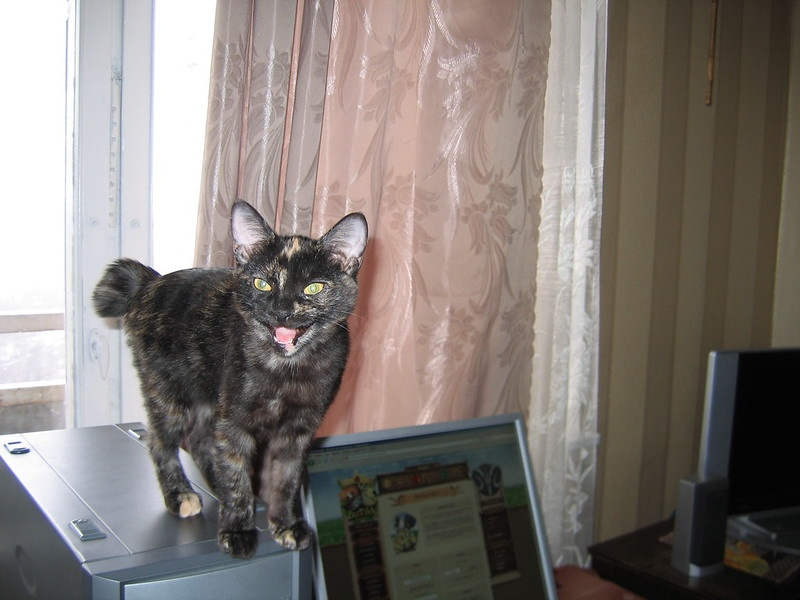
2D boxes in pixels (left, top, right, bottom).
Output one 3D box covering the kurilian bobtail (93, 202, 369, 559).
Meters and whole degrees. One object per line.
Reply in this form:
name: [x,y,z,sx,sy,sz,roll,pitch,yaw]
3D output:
kurilian bobtail: [-0.312,0.103,1.164,0.666,0.594,0.226,14,14,43]
